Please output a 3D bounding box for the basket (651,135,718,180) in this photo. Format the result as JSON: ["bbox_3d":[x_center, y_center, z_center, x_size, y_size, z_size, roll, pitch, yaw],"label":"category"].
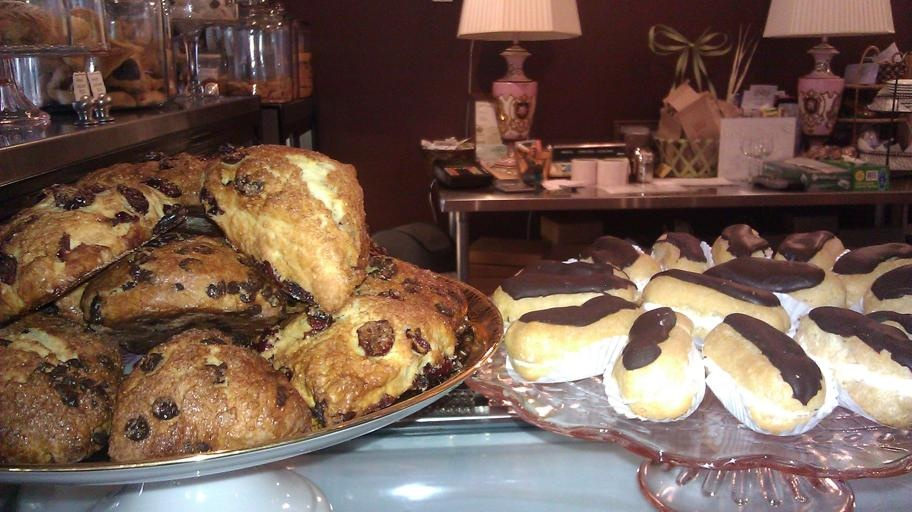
[{"bbox_3d":[1.021,-0.436,2.901,0.217,0.101,0.209,5,15,17],"label":"basket"}]

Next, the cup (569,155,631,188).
[{"bbox_3d":[0.624,-0.354,2.781,0.222,0.088,0.129,2,10,13],"label":"cup"}]
